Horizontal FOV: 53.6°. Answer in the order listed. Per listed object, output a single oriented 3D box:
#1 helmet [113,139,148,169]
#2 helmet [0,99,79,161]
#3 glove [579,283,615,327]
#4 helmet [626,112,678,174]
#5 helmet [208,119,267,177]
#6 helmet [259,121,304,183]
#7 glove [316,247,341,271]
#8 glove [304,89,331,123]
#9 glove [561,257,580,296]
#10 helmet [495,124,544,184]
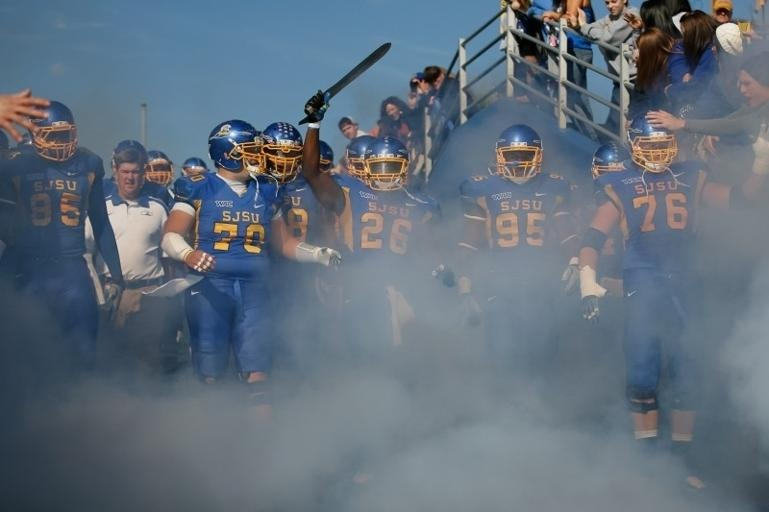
[{"bbox_3d":[-2.233,-0.882,6.623,0.275,0.232,0.283,5,-1,-20],"label":"helmet"},{"bbox_3d":[-2.281,-0.847,5.227,0.308,0.437,0.242,5,-1,-24],"label":"helmet"},{"bbox_3d":[1.465,0.310,5.263,0.221,0.136,0.297,-23,-9,17],"label":"glove"},{"bbox_3d":[1.792,-0.775,5.242,0.307,0.321,0.391,-4,30,-9],"label":"helmet"},{"bbox_3d":[-1.032,-0.769,5.246,0.429,0.322,0.338,1,13,-6],"label":"helmet"},{"bbox_3d":[-0.722,-0.709,5.295,0.291,0.410,0.265,5,-1,-11],"label":"helmet"},{"bbox_3d":[-0.372,0.011,5.164,0.151,0.117,0.061,17,-29,-23],"label":"glove"},{"bbox_3d":[-0.446,-0.989,5.001,0.170,0.210,0.356,5,-1,-8],"label":"glove"},{"bbox_3d":[1.345,0.143,5.322,0.063,0.231,0.140,22,-5,-6],"label":"glove"},{"bbox_3d":[1.017,-0.788,5.662,0.342,0.362,0.457,1,17,15],"label":"helmet"}]
